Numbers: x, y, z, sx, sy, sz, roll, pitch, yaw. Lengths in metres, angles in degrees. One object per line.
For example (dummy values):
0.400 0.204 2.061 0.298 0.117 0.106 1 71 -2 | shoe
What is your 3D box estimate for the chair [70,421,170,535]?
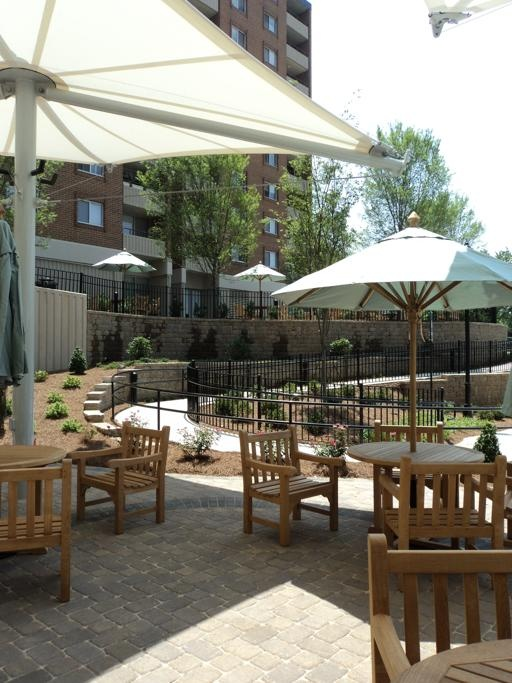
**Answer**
-1.327 1.299 6.562 0.671 0.824 0.747 -2 2 -41 | chair
